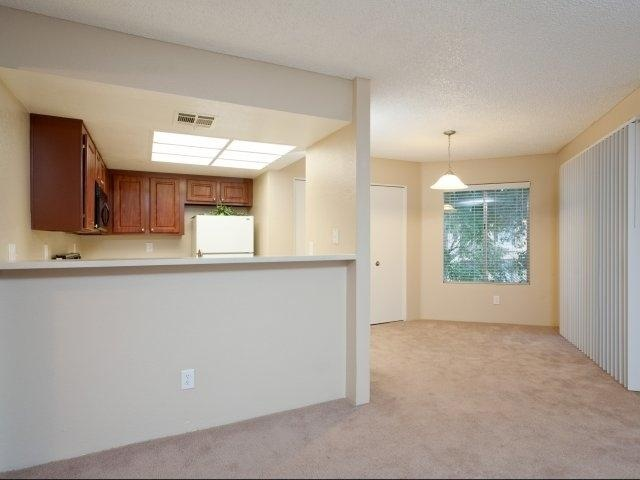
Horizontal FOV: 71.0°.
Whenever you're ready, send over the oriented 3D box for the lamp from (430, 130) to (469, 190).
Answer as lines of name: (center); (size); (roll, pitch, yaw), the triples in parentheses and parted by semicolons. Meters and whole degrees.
lamp: (1.526, -0.935, 5.282); (0.450, 0.653, 0.445); (0, 12, 16)
